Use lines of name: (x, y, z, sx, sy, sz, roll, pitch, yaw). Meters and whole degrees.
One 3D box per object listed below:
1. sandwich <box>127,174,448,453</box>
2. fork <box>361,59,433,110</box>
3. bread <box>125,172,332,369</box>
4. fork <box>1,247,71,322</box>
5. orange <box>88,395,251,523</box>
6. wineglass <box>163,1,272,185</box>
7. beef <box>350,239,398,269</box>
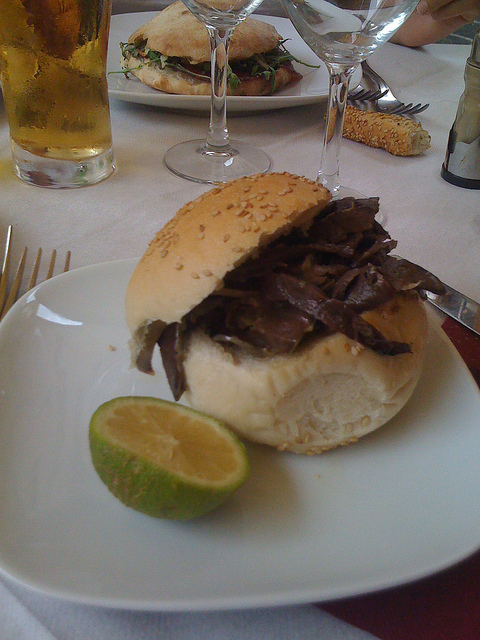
sandwich: (0.113, 0.000, 0.897, 0.410, 0.233, 0.376, 11, 52, 24)
fork: (0.459, -0.768, 1.977, 0.093, 0.083, 0.583, -14, 36, -2)
bread: (-0.034, -0.038, 0.824, 0.080, 0.258, 0.225, 46, 43, -10)
fork: (-0.359, -0.070, 1.074, 0.063, 0.026, 0.192, 9, 34, 6)
orange: (-0.082, 0.146, 0.704, 0.174, 0.066, 0.176, -6, 34, -14)
wineglass: (-0.029, -0.476, 1.441, 0.274, 0.486, 0.264, 24, 36, 38)
beef: (0.169, -0.085, 0.779, 0.056, 0.017, 0.035, -25, 66, -18)
